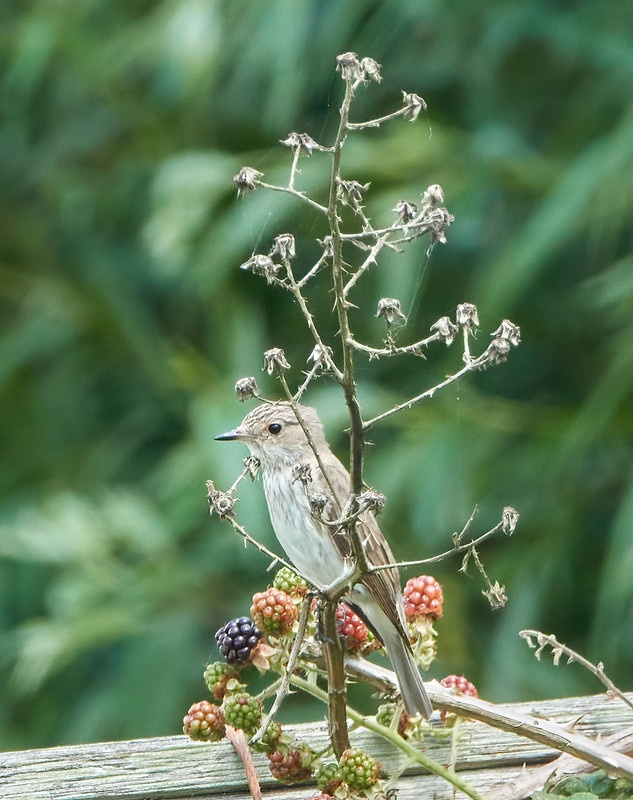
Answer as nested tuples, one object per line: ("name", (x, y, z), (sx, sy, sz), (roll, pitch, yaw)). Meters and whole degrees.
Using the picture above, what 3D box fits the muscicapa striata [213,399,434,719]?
("muscicapa striata", (0.016, 0.398, 3.222), (0.260, 0.490, 0.842), (-38, 69, -24))

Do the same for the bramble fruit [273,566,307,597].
("bramble fruit", (-0.060, 0.387, 2.852), (0.073, 0.052, 0.042), (11, 19, 32))
